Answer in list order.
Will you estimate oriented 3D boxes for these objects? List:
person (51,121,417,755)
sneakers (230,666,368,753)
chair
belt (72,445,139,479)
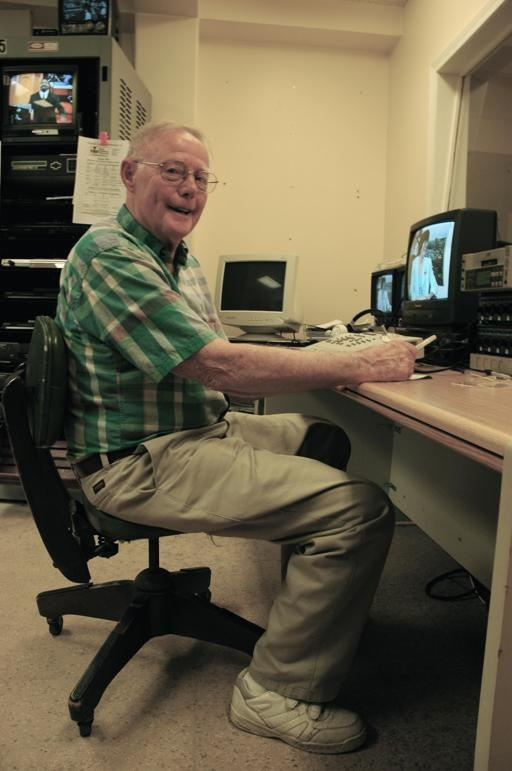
[{"bbox_3d":[0.133,0.013,1.936,1.088,1.852,1.006,-1,4,-7],"label":"person"},{"bbox_3d":[0.064,0.572,1.119,0.270,0.125,0.101,3,0,17],"label":"sneakers"},{"bbox_3d":[-0.189,0.219,1.564,0.739,0.963,0.633,-1,5,-16],"label":"chair"},{"bbox_3d":[-0.292,0.148,1.149,0.092,0.031,0.069,-30,-3,5],"label":"belt"}]
